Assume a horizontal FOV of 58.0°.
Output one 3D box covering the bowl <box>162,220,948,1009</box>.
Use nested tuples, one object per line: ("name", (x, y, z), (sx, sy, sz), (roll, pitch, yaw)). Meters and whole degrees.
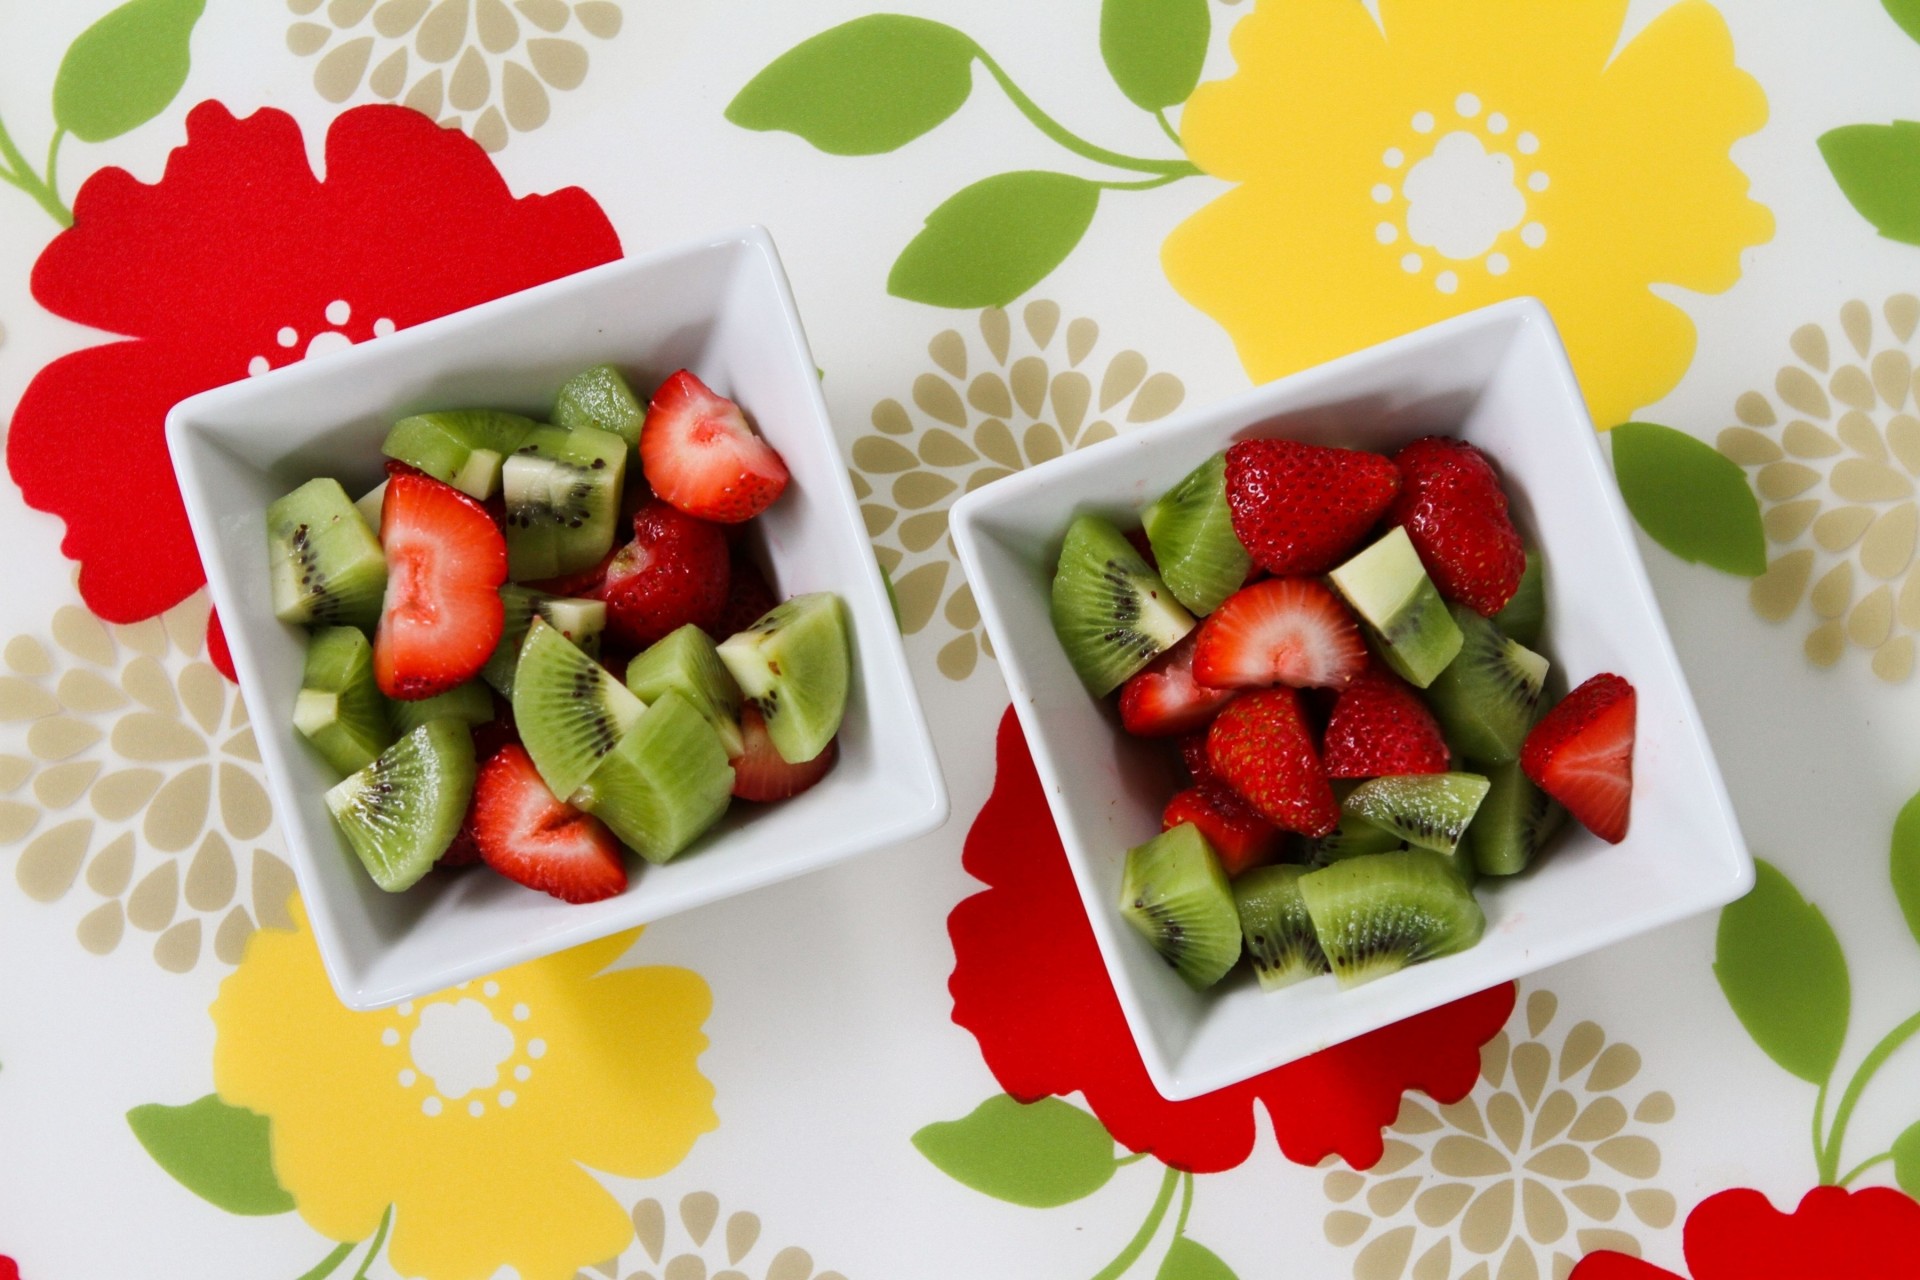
("bowl", (-0.283, -0.016, 1.236), (0.465, 0.110, 0.447), (0, 80, 0))

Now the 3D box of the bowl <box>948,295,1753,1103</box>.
("bowl", (0.269, 0.055, 1.281), (0.443, 0.245, 0.477), (0, 80, 0))

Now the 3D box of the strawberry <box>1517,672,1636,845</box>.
("strawberry", (0.452, 0.084, 1.218), (0.090, 0.040, 0.097), (-40, 82, -6))
